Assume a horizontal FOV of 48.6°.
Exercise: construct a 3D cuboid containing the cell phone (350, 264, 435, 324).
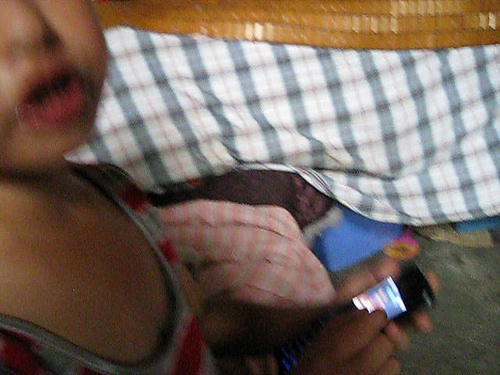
[{"bbox_3d":[0.207,0.185,0.876,0.100,0.026,0.061,-17,53,-18],"label":"cell phone"}]
